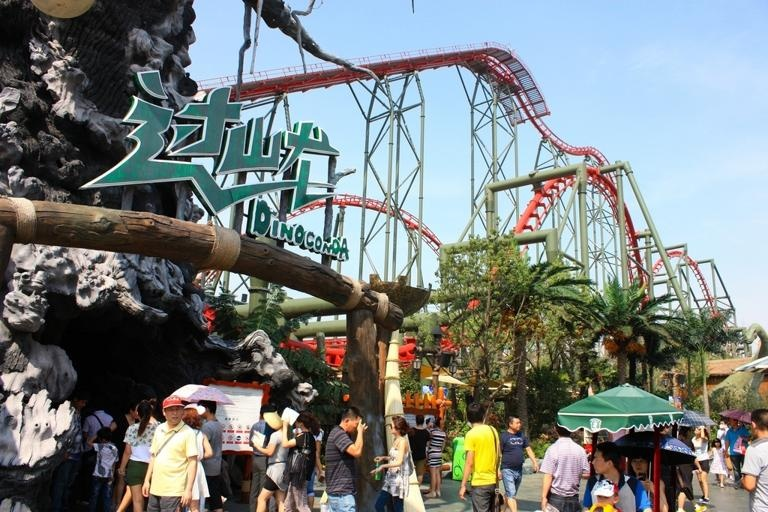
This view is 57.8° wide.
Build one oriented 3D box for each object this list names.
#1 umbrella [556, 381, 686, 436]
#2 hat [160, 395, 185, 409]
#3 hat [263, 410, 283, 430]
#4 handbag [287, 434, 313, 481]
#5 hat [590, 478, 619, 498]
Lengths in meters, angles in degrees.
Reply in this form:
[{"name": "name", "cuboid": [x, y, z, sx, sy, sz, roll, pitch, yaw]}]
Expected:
[{"name": "umbrella", "cuboid": [4.007, 2.551, 11.523, 1.938, 0.848, 2.457, -8, -19, 29]}, {"name": "hat", "cuboid": [-2.908, 1.998, 9.563, 0.243, 0.215, 0.343, 7, -20, -12]}, {"name": "hat", "cuboid": [-1.823, 2.662, 11.267, 0.287, 0.318, 0.399, 8, -20, -16]}, {"name": "handbag", "cuboid": [-1.333, 3.136, 10.873, 0.564, 0.663, 0.350, -11, -33, 24]}, {"name": "hat", "cuboid": [2.879, 3.009, 9.084, 0.252, 0.183, 0.343, -9, -22, 30]}]
